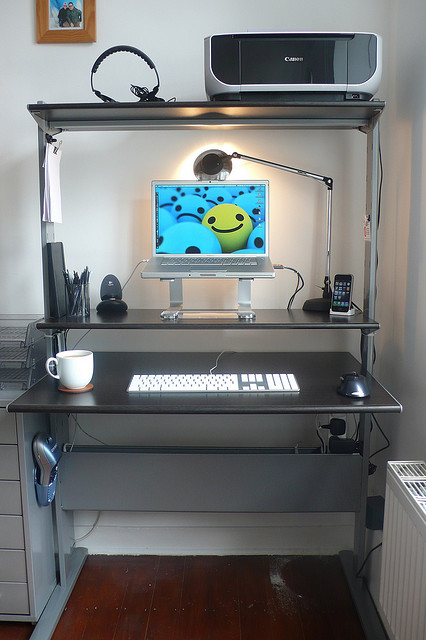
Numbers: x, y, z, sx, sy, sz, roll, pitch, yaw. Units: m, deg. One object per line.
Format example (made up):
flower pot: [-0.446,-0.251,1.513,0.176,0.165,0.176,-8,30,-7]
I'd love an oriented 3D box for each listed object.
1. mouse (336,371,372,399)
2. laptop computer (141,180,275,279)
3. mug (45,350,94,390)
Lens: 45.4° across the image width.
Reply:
mouse: [0.389,0.179,1.430,0.058,0.042,0.096,-1,4,-1]
laptop computer: [-0.018,-0.297,1.627,0.408,0.310,0.193,0,8,4]
mug: [-0.415,0.128,1.476,0.123,0.101,0.104,-3,10,-11]
